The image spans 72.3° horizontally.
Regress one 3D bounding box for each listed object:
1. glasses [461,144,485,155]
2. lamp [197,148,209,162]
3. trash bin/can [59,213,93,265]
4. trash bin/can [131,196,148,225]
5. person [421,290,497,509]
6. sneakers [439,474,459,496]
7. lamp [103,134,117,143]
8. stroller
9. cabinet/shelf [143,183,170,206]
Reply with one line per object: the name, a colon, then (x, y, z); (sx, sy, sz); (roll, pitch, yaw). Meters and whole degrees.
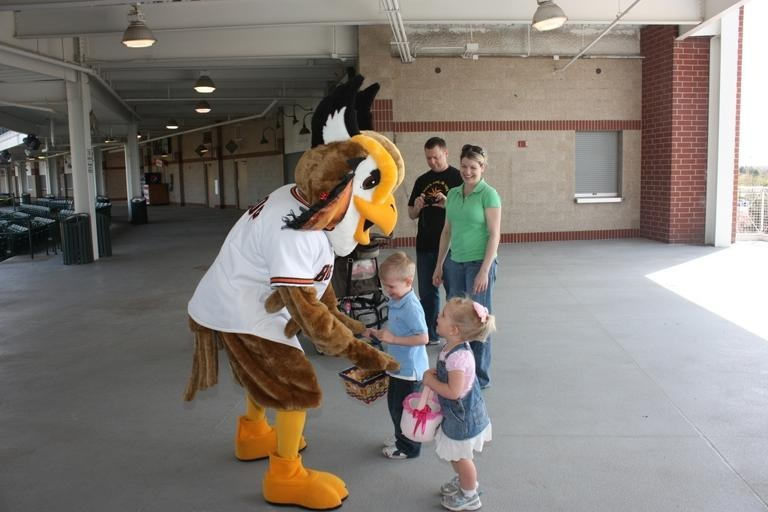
glasses: (0.884, -1.044, 5.193); (0.225, 0.090, 0.342); (1, 13, 9)
lamp: (-11.260, -6.400, 32.923); (0.823, 0.874, 0.828); (0, -1, -5)
trash bin/can: (-7.228, -0.413, 12.419); (0.673, 1.151, 0.581); (-9, 16, -30)
trash bin/can: (-10.406, -1.897, 22.457); (0.588, 1.064, 0.958); (-10, 16, -32)
person: (0.532, 1.072, 3.795); (0.479, 1.509, 0.389); (1, 14, 10)
sneakers: (0.496, 1.730, 3.951); (0.174, 0.110, 0.086); (1, 2, 9)
lamp: (-14.699, -6.355, 28.362); (0.555, 0.131, 0.523); (1, -1, 20)
stroller: (-0.458, 0.402, 7.124); (1.189, 1.576, 1.006); (-3, 8, -9)
cabinet/shelf: (-16.895, -4.568, 39.475); (1.655, 1.657, 1.686); (-1, 7, -1)
